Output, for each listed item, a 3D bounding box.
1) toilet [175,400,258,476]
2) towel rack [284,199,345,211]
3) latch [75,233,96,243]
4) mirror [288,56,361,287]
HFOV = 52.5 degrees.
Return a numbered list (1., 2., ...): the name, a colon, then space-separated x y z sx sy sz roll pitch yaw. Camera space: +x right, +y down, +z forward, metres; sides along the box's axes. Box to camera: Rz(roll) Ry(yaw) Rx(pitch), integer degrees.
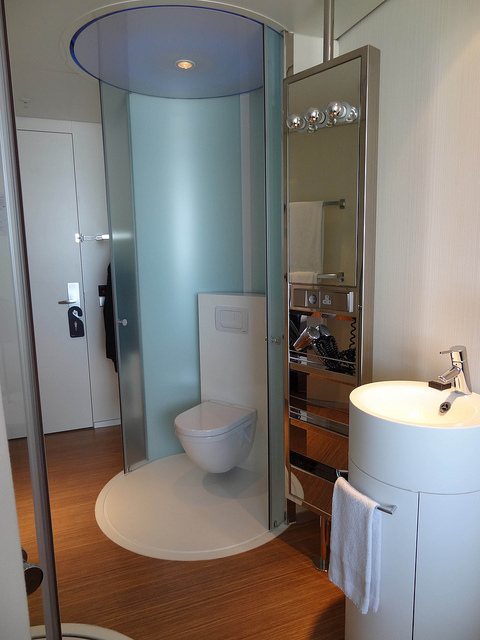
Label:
1. toilet: -0.127 0.599 2.569 0.316 0.301 0.405 3 6 35
2. towel rack: 0.306 -0.404 1.724 0.022 0.030 0.140 -18 18 -41
3. latch: -1.105 -0.587 3.478 0.137 0.059 0.038 -1 -2 -12
4. mirror: 0.314 -0.435 1.789 0.065 0.983 0.407 -7 10 -41
